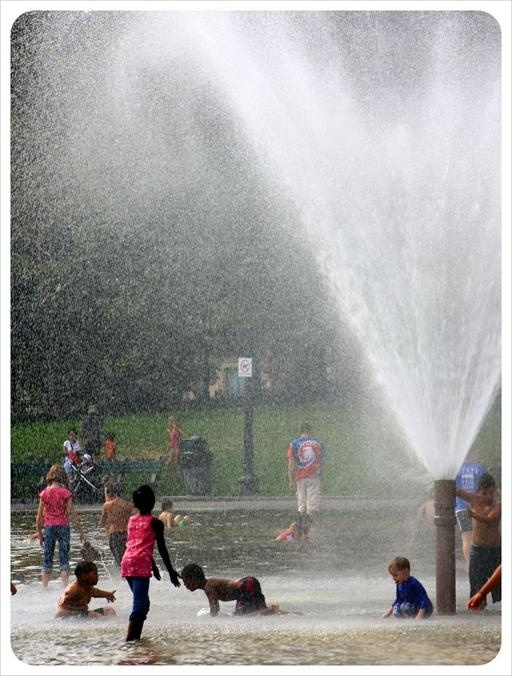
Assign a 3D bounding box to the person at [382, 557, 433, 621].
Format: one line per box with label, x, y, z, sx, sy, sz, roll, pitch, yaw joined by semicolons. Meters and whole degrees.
person;1.352;2.247;10.799;0.432;0.600;0.718;-2;-3;14
